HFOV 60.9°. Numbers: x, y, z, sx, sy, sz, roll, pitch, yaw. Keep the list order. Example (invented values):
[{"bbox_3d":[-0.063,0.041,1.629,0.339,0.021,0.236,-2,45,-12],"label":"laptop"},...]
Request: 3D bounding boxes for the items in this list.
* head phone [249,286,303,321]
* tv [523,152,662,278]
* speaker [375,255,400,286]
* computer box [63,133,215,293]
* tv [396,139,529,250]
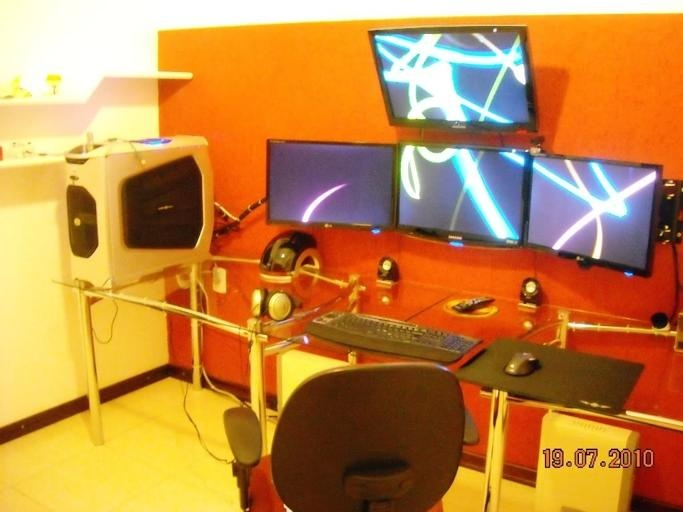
[{"bbox_3d":[-0.298,0.205,2.554,0.232,0.133,0.273,-2,4,-1],"label":"head phone"},{"bbox_3d":[1.022,-0.186,2.309,0.453,0.388,0.049,17,21,35],"label":"tv"},{"bbox_3d":[0.222,0.076,2.899,0.114,0.169,0.127,3,5,33],"label":"speaker"},{"bbox_3d":[-1.079,-0.252,3.073,0.415,0.716,0.768,5,13,27],"label":"computer box"},{"bbox_3d":[0.555,-0.289,2.578,0.458,0.337,0.065,10,19,29],"label":"tv"}]
